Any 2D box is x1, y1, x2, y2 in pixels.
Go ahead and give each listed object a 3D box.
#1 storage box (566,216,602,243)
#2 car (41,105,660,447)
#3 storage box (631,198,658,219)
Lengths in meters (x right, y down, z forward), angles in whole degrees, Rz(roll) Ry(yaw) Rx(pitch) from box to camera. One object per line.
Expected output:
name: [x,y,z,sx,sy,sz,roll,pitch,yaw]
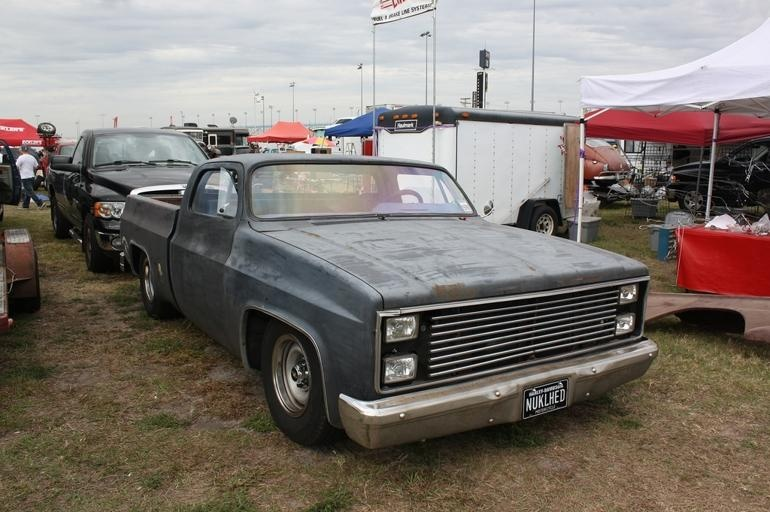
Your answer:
storage box: [4.806,-0.645,13.192,0.725,0.569,1.011,8,12,44]
car: [-0.941,0.066,5.645,2.413,1.487,5.176,-8,14,-37]
storage box: [8.256,-1.531,17.157,0.899,0.623,0.694,1,4,15]
